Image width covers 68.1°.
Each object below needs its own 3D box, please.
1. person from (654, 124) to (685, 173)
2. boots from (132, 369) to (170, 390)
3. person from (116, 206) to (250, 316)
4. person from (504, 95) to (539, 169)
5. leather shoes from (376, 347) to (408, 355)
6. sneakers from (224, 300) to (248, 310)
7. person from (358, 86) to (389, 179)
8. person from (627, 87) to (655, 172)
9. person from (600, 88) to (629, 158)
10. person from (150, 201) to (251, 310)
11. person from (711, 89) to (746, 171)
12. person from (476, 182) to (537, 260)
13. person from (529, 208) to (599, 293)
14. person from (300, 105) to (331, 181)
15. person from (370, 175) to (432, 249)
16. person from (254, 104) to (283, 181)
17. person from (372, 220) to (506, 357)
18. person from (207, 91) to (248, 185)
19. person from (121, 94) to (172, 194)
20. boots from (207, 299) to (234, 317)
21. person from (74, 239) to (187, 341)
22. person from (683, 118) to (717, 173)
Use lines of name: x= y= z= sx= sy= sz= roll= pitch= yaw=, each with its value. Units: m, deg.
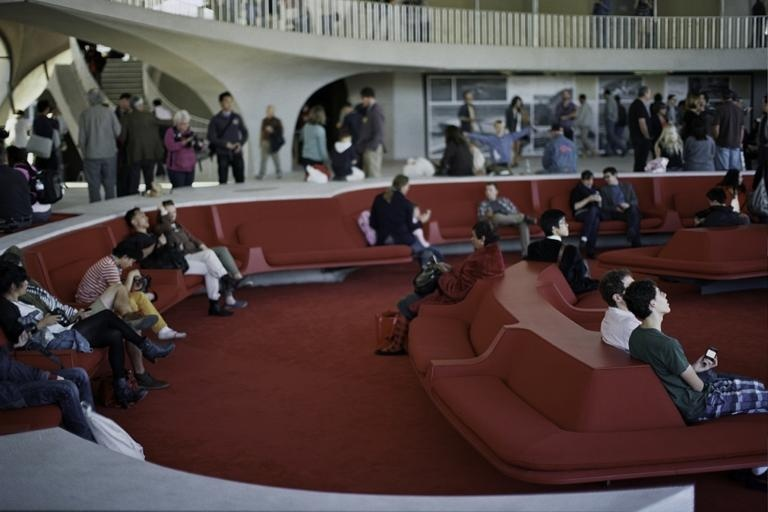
person: x=5.502 y=-2.068 z=10.871 sx=0.495 sy=0.871 sz=0.613 roll=5 pitch=15 yaw=24
boots: x=-2.073 y=1.102 z=5.065 sx=0.366 sy=0.176 sz=0.129 roll=1 pitch=5 yaw=-9
person: x=-2.343 y=0.037 z=6.722 sx=1.300 sy=1.420 sz=0.672 roll=-6 pitch=11 yaw=-5
person: x=3.498 y=-3.285 z=14.879 sx=0.555 sy=1.662 sz=0.440 roll=11 pitch=-10 yaw=-40
leather shoes: x=0.064 y=0.942 z=5.604 sx=0.290 sy=0.092 sz=0.114 roll=4 pitch=1 yaw=3
sneakers: x=-1.819 y=0.592 z=6.942 sx=0.219 sy=0.101 sz=0.092 roll=-7 pitch=17 yaw=-9
person: x=-0.240 y=-2.210 z=10.326 sx=0.451 sy=1.585 sz=0.750 roll=-2 pitch=13 yaw=-2
person: x=5.270 y=-2.580 z=11.636 sx=0.414 sy=1.685 sz=1.582 roll=4 pitch=15 yaw=23
person: x=7.707 y=-4.395 z=18.900 sx=1.396 sy=2.084 sz=0.764 roll=-14 pitch=18 yaw=-42
person: x=-2.225 y=-0.032 z=6.864 sx=1.076 sy=1.492 sz=0.620 roll=-6 pitch=6 yaw=12
person: x=6.366 y=-2.278 z=10.402 sx=0.540 sy=1.398 sz=0.745 roll=7 pitch=16 yaw=33
person: x=1.938 y=-0.571 z=9.125 sx=0.711 sy=1.473 sz=0.843 roll=-5 pitch=-9 yaw=-31
person: x=2.225 y=-0.072 z=6.925 sx=0.638 sy=1.039 sz=0.805 roll=-12 pitch=16 yaw=-36
person: x=-1.292 y=-2.093 z=10.528 sx=0.541 sy=1.312 sz=2.610 roll=-3 pitch=14 yaw=-7
person: x=0.238 y=-0.569 z=8.324 sx=0.844 sy=1.279 sz=0.835 roll=-2 pitch=9 yaw=-36
person: x=-2.982 y=-2.942 z=14.649 sx=0.714 sy=1.811 sz=1.418 roll=-4 pitch=14 yaw=-12
person: x=0.558 y=0.346 z=5.675 sx=1.066 sy=1.532 sz=0.673 roll=13 pitch=0 yaw=15
person: x=-2.790 y=-2.069 z=10.067 sx=0.660 sy=1.564 sz=0.858 roll=-5 pitch=14 yaw=-17
person: x=-4.209 y=-1.809 z=9.694 sx=0.509 sy=1.840 sz=0.707 roll=34 pitch=36 yaw=29
boots: x=-1.995 y=0.635 z=6.861 sx=0.334 sy=0.263 sz=0.158 roll=-3 pitch=6 yaw=-10
person: x=-2.520 y=0.346 z=5.585 sx=0.973 sy=0.906 sz=0.509 roll=0 pitch=-6 yaw=6
person: x=5.649 y=-1.963 z=10.072 sx=0.505 sy=0.928 sz=0.429 roll=4 pitch=14 yaw=21
